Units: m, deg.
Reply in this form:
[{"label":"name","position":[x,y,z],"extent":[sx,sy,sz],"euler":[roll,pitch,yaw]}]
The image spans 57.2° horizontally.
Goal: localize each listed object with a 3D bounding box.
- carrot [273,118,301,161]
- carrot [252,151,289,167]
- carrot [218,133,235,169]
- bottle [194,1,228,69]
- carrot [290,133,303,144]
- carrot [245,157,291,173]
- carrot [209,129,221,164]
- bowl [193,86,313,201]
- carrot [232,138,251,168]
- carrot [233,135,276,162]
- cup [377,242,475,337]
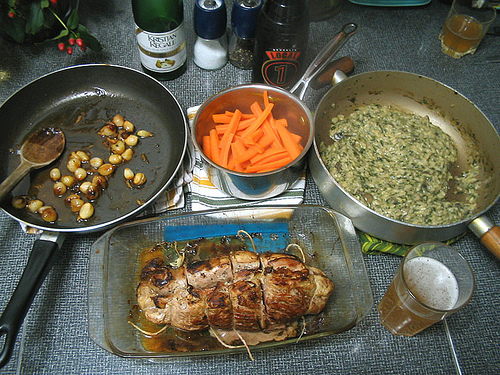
[{"label":"carrot","position":[0.120,-0.155,1.491],"extent":[0.068,0.095,0.113],"euler":[4,39,2]},{"label":"carrot","position":[0.062,-0.089,1.470],"extent":[0.090,0.017,0.023],"euler":[-25,90,-3]},{"label":"carrot","position":[-0.078,-0.113,1.465],"extent":[0.026,0.032,0.127],"euler":[6,80,43]},{"label":"bottle","position":[-0.144,-0.549,1.654],"extent":[0.117,0.198,0.127],"euler":[1,64,-2]},{"label":"carrot","position":[0.153,-0.158,1.499],"extent":[0.031,0.009,0.031],"euler":[30,83,19]},{"label":"carrot","position":[0.057,-0.070,1.451],"extent":[0.088,0.019,0.026],"euler":[-17,59,-6]},{"label":"carrot","position":[-0.114,-0.128,1.477],"extent":[0.028,0.030,0.113],"euler":[-3,72,-4]},{"label":"bowl","position":[0.010,-0.142,1.495],"extent":[0.372,0.195,0.332],"euler":[4,68,2]},{"label":"carrot","position":[-0.026,-0.114,1.468],"extent":[0.045,0.023,0.099],"euler":[-18,88,-17]},{"label":"carrot","position":[0.011,-0.121,1.475],"extent":[0.099,0.025,0.029],"euler":[-39,74,-16]},{"label":"cup","position":[0.518,0.317,1.390],"extent":[0.230,0.235,0.157],"euler":[-22,60,-28]}]
